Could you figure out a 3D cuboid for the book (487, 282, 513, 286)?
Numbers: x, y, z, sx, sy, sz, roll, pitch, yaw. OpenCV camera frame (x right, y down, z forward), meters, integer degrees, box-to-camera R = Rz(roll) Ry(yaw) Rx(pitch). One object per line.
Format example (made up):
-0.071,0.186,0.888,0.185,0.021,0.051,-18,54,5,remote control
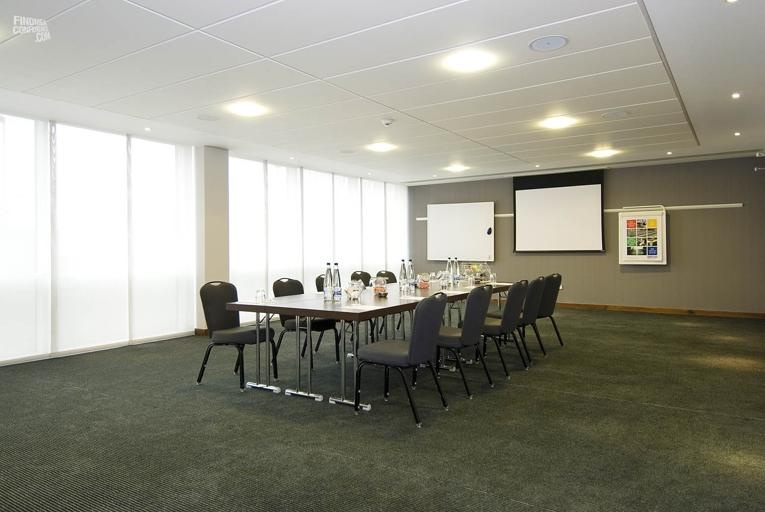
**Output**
1.810,0.434,7.579,0.217,0.052,0.234,-1,-1,42,book

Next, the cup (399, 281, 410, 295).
0.297,0.455,6.742,0.160,0.271,0.153,2,-1,0,cup

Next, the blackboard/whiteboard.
2.161,-0.651,13.098,1.707,1.356,0.176,1,3,33,blackboard/whiteboard
